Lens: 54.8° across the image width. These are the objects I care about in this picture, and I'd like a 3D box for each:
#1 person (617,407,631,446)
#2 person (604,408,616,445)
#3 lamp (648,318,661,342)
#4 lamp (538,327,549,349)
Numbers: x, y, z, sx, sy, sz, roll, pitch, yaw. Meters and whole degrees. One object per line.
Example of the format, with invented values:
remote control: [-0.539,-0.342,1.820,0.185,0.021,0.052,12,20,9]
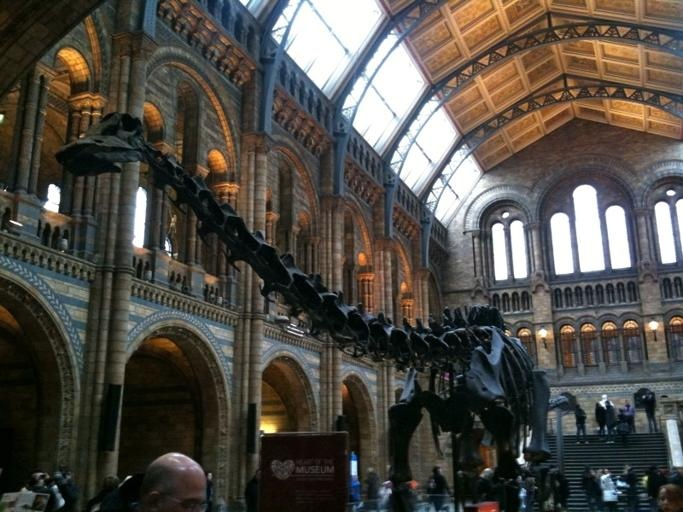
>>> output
person: [10.575,6.425,24.574,0.512,1.347,1.505,-11,-20,20]
person: [10.090,6.305,24.614,0.419,1.369,0.792,-10,-20,18]
lamp: [14.584,3.428,30.501,0.503,0.949,0.578,-9,-20,16]
lamp: [10.008,4.009,32.390,0.479,1.083,0.721,-6,-19,9]
